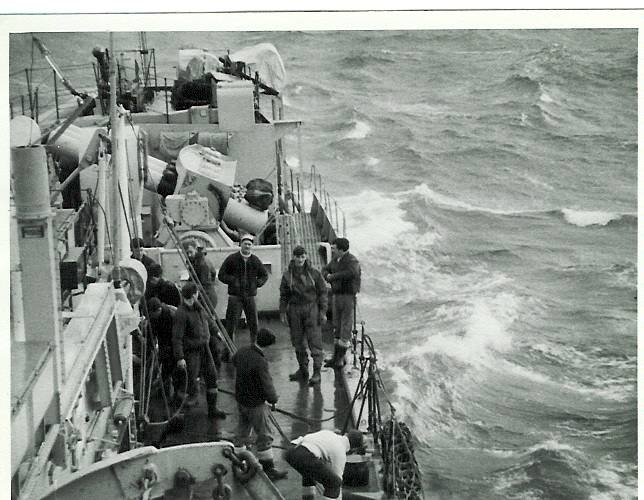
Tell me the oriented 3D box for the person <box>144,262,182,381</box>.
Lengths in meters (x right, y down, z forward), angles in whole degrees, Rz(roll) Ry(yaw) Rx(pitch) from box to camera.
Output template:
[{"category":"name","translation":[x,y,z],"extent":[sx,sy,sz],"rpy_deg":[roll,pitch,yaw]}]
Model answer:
[{"category":"person","translation":[-1.786,0.806,9.709],"extent":[0.344,1.297,0.401],"rpy_deg":[-12,-12,-4]}]

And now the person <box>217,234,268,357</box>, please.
[{"category":"person","translation":[-0.971,0.551,10.664],"extent":[0.558,1.520,0.400],"rpy_deg":[-1,27,-9]}]

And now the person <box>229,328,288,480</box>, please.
[{"category":"person","translation":[-0.657,1.537,8.692],"extent":[0.477,1.638,0.313],"rpy_deg":[-1,13,7]}]

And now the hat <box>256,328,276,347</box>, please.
[{"category":"hat","translation":[-0.566,0.852,8.474],"extent":[0.179,0.211,0.218],"rpy_deg":[-3,14,-2]}]

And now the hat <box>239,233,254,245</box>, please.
[{"category":"hat","translation":[-0.999,-0.138,11.350],"extent":[0.163,0.179,0.217],"rpy_deg":[2,-7,-1]}]
